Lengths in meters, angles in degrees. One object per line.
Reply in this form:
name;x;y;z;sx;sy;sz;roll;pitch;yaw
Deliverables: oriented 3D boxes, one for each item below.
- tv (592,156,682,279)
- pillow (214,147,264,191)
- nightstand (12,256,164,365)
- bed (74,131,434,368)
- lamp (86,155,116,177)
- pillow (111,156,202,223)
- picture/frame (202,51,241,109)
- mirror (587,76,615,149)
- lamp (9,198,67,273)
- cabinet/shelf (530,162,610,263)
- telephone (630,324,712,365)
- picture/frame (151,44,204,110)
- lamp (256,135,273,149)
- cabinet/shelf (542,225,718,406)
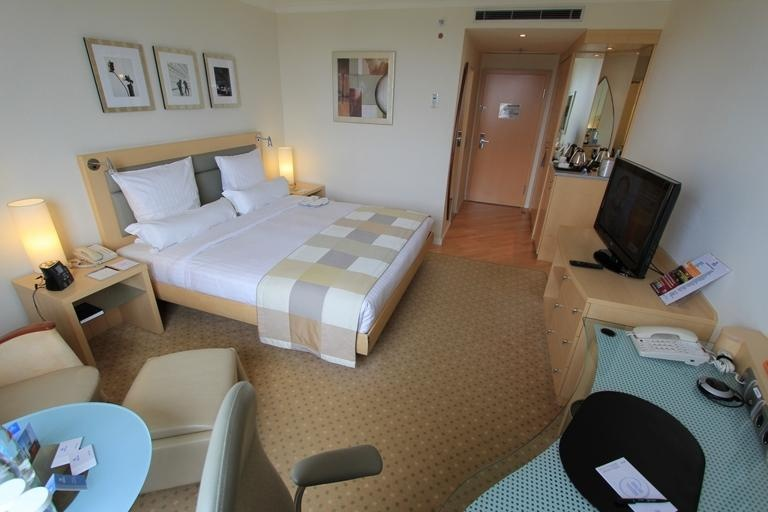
tv;1.984;-0.272;3.592;0.353;0.820;0.934;8;70;11
pillow;-1.587;-0.930;5.008;0.124;0.318;0.461;5;24;28
nightstand;-2.440;0.316;3.955;0.890;0.896;0.860;13;33;16
bed;-1.179;-0.274;4.099;2.454;1.133;2.356;13;34;12
lamp;-2.392;-0.771;3.922;0.088;0.101;0.173;45;21;29
pillow;-2.116;-0.532;4.372;0.306;0.700;1.044;6;21;13
picture/frame;-1.739;-1.881;4.906;0.042;0.582;0.597;10;25;26
mirror;2.540;-1.657;5.357;0.282;0.761;0.086;13;29;22
lamp;-2.637;-0.145;3.564;0.305;0.526;0.197;15;29;25
cabinet/shelf;1.975;-0.459;4.852;0.601;1.129;1.041;13;8;3
telephone;1.841;0.571;2.991;0.339;0.106;0.249;8;30;17
picture/frame;-2.005;-1.734;4.452;0.027;0.632;0.643;10;21;26
lamp;-1.443;-1.394;5.639;0.177;0.111;0.067;-19;44;-31
cabinet/shelf;1.766;0.433;3.251;0.578;0.846;1.121;3;34;10
